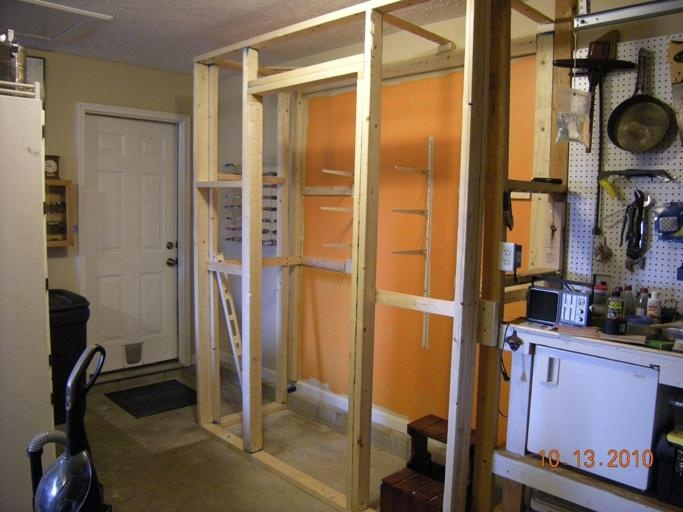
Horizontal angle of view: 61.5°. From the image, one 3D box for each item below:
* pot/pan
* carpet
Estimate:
[{"bbox_3d":[1.577,-0.806,2.989,0.321,0.547,0.084,4,7,34],"label":"pot/pan"},{"bbox_3d":[-1.631,1.232,5.047,0.651,0.009,0.761,-11,-32,-7],"label":"carpet"}]
